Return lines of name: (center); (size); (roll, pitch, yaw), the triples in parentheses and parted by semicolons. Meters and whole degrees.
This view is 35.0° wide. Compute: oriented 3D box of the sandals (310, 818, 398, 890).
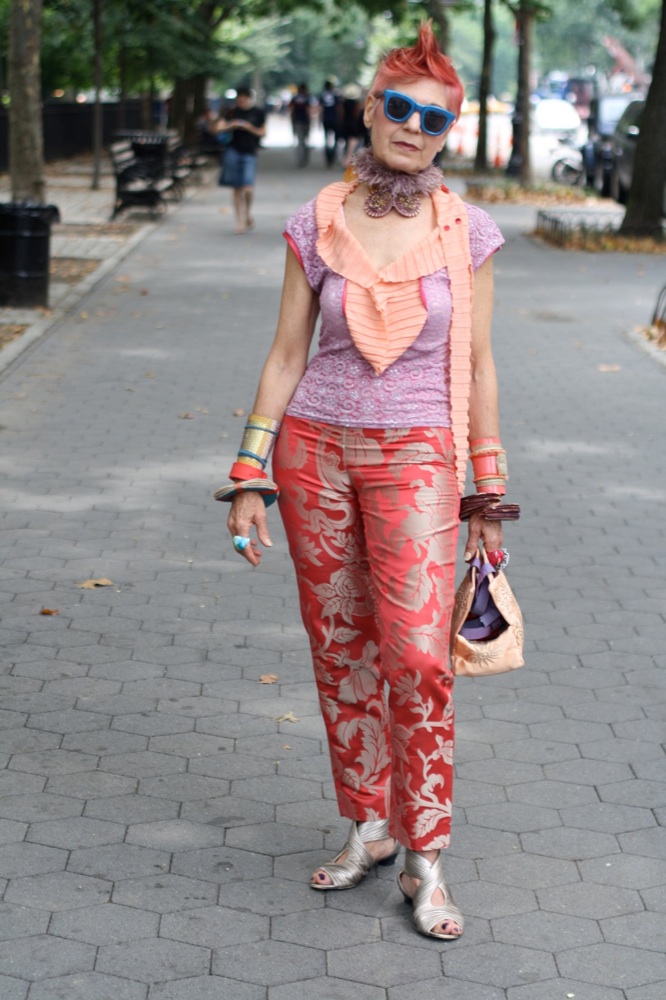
sandals: (0.065, 0.899, 2.759); (0.316, 0.127, 0.109); (-8, 10, -41)

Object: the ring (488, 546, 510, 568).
ring: (0.397, 0.143, 2.551); (0.039, 0.041, 0.103); (-2, -1, 6)

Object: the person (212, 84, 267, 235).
person: (-1.531, -5.798, 17.761); (0.855, 2.762, 0.777); (1, 26, -9)

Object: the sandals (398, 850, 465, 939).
sandals: (0.227, 0.923, 2.489); (0.101, 0.106, 0.266); (-6, 6, -12)

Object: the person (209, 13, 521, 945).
person: (0.066, 0.002, 2.417); (0.660, 2.046, 0.374); (5, 13, 8)

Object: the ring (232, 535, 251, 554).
ring: (-0.208, 0.103, 2.419); (0.047, 0.035, 0.048); (1, 4, 0)

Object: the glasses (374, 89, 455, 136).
glasses: (0.178, -0.831, 2.273); (0.168, 0.097, 0.091); (3, 12, 2)

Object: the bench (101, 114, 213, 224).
bench: (-3.564, -6.521, 21.076); (1.206, 2.325, 6.196); (2, 10, -7)
